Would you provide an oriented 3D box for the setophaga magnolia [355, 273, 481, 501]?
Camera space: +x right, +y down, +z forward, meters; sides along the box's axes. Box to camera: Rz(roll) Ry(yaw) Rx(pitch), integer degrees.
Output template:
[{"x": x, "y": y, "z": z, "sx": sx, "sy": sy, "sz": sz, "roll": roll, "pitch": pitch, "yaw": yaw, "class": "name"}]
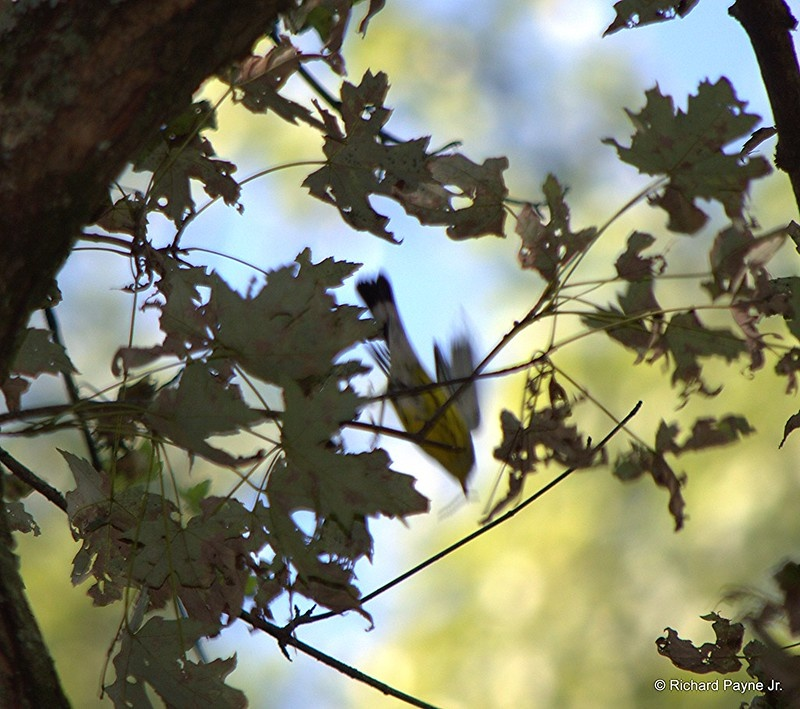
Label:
[{"x": 0.025, "y": 0.053, "z": 2.378, "sx": 0.136, "sy": 0.153, "sz": 0.319, "roll": -1, "pitch": -91, "yaw": -14, "class": "setophaga magnolia"}]
